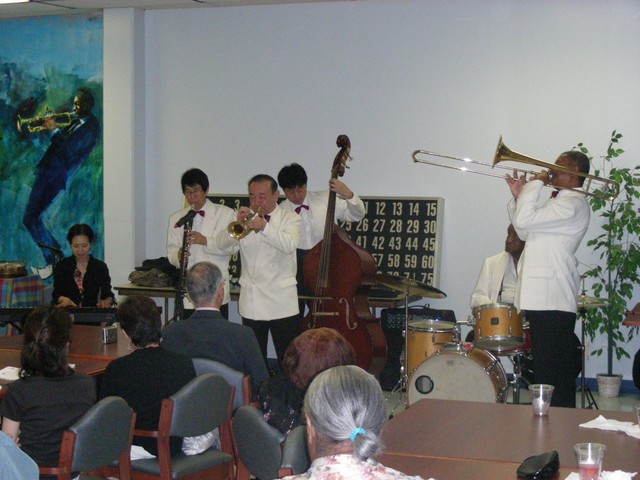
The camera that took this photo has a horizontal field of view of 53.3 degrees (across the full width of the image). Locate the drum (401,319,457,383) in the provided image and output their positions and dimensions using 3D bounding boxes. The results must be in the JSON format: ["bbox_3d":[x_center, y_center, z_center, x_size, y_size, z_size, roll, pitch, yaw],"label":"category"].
[{"bbox_3d":[0.854,0.827,4.910,0.401,0.440,0.417,0,0,19],"label":"drum"}]

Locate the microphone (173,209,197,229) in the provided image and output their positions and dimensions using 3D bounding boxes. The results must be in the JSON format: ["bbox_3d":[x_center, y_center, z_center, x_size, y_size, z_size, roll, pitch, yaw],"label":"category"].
[{"bbox_3d":[-0.982,-0.151,4.645,0.165,0.106,0.048,-33,10,-12],"label":"microphone"}]

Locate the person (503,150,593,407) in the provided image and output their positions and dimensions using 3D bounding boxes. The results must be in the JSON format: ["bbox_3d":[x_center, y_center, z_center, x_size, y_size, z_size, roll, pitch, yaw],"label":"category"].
[{"bbox_3d":[1.565,0.349,4.499,0.542,1.996,0.656,7,10,43],"label":"person"}]

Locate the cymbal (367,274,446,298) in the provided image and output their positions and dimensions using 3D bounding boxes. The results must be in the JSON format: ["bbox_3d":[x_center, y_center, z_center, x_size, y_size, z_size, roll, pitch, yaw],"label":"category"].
[{"bbox_3d":[0.682,0.357,4.855,0.322,0.076,0.343,11,-20,46],"label":"cymbal"}]

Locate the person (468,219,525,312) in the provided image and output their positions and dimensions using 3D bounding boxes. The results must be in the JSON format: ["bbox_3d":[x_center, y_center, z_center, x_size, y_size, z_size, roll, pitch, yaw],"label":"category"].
[{"bbox_3d":[1.426,0.251,5.258,0.473,0.767,0.221,0,-6,36],"label":"person"}]

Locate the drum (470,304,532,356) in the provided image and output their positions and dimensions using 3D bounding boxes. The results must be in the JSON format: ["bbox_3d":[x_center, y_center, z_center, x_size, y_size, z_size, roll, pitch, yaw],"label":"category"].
[{"bbox_3d":[1.261,0.651,4.586,0.322,0.257,0.340,0,-8,0],"label":"drum"}]

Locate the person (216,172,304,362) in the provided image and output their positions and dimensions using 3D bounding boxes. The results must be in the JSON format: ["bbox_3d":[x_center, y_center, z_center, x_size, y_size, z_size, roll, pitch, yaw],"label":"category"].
[{"bbox_3d":[-0.394,0.237,4.732,0.527,1.554,0.495,0,1,-10],"label":"person"}]

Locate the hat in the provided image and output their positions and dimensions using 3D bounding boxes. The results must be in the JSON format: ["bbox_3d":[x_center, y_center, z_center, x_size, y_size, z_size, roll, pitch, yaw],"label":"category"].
[{"bbox_3d":[0.007,0.464,2.630,0.273,0.249,0.212,-13,9,-22],"label":"hat"}]

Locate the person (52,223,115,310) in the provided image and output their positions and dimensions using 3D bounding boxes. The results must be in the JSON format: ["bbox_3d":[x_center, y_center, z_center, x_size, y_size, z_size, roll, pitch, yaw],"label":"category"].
[{"bbox_3d":[-2.163,0.307,5.822,0.475,0.939,0.438,-3,10,-44],"label":"person"}]

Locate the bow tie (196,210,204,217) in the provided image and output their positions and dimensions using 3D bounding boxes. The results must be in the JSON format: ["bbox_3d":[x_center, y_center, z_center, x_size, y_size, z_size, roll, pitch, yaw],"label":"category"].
[{"bbox_3d":[-0.949,-0.212,5.104,0.036,0.054,0.013,0,0,-8],"label":"bow tie"}]
